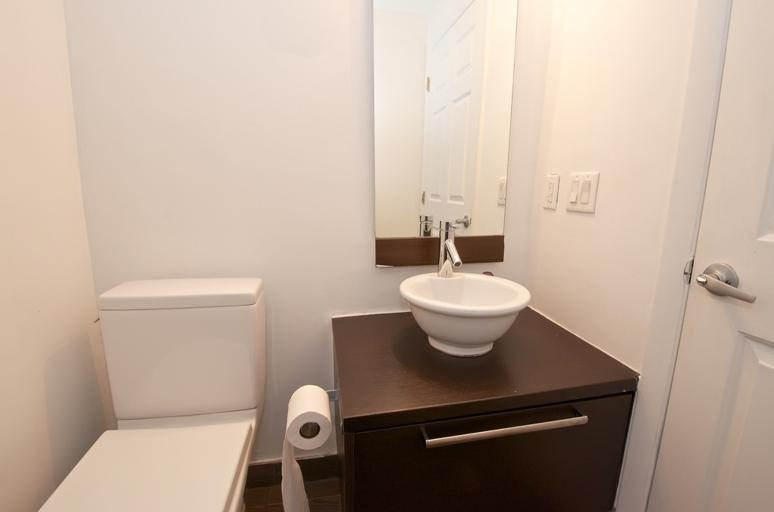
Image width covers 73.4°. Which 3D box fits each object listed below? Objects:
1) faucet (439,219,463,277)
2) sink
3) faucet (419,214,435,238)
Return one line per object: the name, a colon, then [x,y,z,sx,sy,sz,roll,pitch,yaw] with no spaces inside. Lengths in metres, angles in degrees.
faucet: [0.262,-0.007,2.163,0.094,0.230,0.305,1,17,7]
sink: [0.292,0.233,2.014,0.472,0.252,0.376,-1,17,1]
faucet: [0.161,-0.121,2.225,0.072,0.135,0.072,2,14,1]
